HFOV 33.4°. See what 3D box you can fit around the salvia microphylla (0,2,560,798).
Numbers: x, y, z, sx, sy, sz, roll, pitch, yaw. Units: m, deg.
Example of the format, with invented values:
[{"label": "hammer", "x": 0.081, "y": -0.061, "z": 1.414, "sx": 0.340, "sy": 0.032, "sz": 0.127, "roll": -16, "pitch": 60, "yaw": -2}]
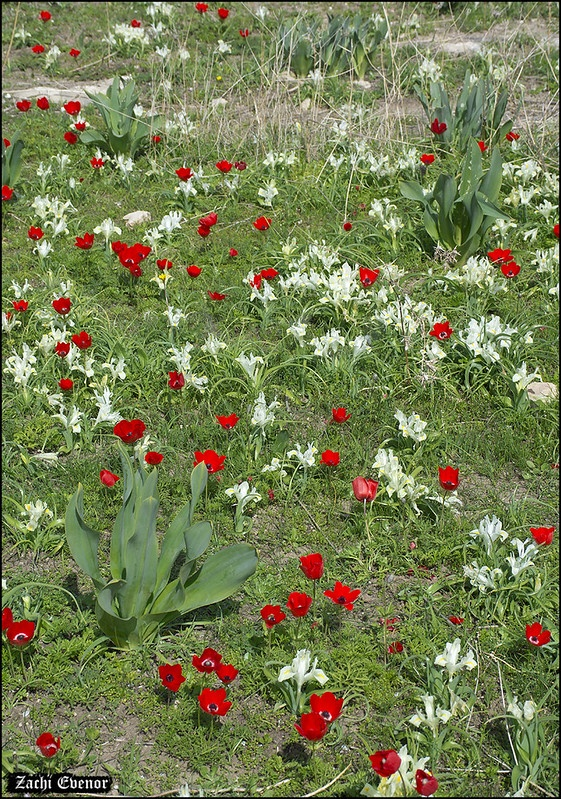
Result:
[{"label": "salvia microphylla", "x": -0.143, "y": 0.008, "z": 6.241, "sx": 3.927, "sy": 1.509, "sz": 5.543, "roll": 3, "pitch": 54, "yaw": -3}]
